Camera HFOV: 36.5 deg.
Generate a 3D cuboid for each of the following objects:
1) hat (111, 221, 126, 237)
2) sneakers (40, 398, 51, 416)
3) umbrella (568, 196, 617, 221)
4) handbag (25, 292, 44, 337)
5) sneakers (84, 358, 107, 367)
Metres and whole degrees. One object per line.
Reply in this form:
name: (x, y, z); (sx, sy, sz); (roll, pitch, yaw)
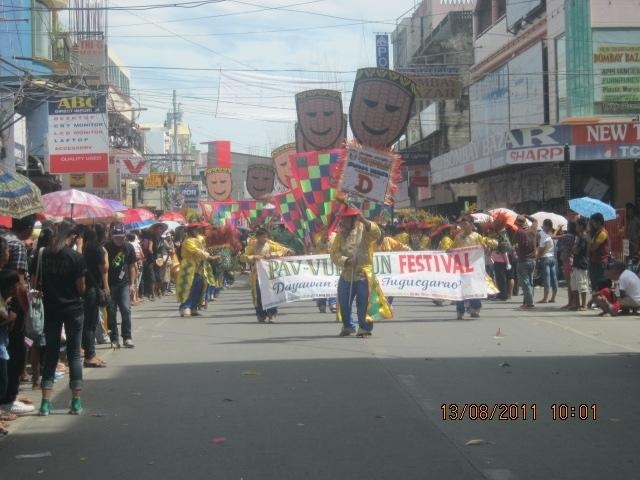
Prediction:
hat: (-3.770, -0.139, 18.050); (0.289, 0.160, 0.484); (7, 23, -18)
sneakers: (-3.865, 2.295, 13.552); (0.173, 0.226, 0.269); (-5, 10, -18)
umbrella: (6.936, -0.818, 24.560); (0.875, 0.446, 0.872); (33, -11, -26)
handbag: (-4.068, 1.055, 13.775); (0.249, 0.755, 0.346); (-6, 11, -26)
sneakers: (-3.700, 2.007, 15.966); (0.294, 0.133, 0.165); (-1, -1, -1)
